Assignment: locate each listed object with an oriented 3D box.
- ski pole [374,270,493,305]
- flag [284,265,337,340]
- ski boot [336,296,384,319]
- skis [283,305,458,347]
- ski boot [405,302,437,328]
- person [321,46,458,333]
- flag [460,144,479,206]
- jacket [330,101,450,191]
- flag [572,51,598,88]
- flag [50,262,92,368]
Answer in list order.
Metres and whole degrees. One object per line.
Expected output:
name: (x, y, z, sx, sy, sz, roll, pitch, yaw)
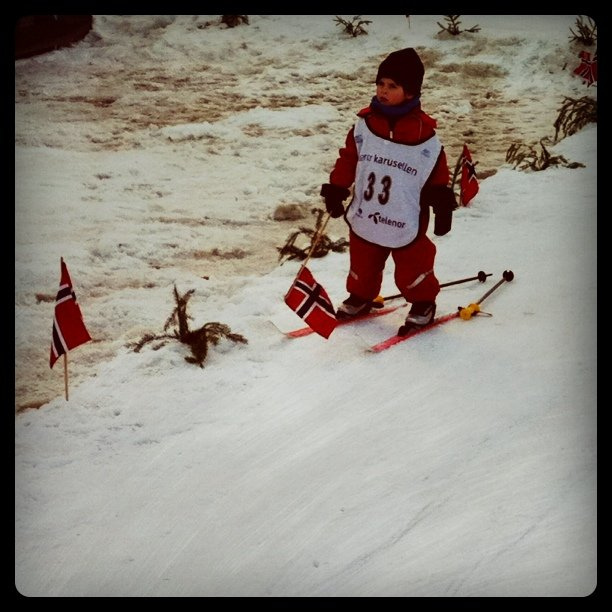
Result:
ski pole: (0.558, -0.081, 3.286, 0.588, 0.061, 0.078, -9, 17, -24)
flag: (0.009, -0.032, 3.006, 0.202, 0.449, 0.034, -1, 44, 15)
ski boot: (0.218, 0.002, 3.290, 0.228, 0.083, 0.067, -7, 42, -14)
skis: (0.342, 0.086, 3.238, 0.882, 0.057, 0.241, -11, 22, -17)
ski boot: (0.499, 0.033, 3.236, 0.143, 0.114, 0.096, 8, 7, 0)
person: (0.345, -0.458, 3.020, 0.541, 1.158, 0.240, 10, 25, 9)
flag: (0.806, -0.668, 3.682, 0.115, 0.324, 0.025, -23, 28, -17)
jacket: (0.348, -0.635, 2.941, 0.478, 0.357, 0.147, 8, 25, 8)
flag: (1.480, -1.269, 3.899, 0.123, 0.182, 0.168, 12, 24, 15)
flag: (-0.926, 0.013, 2.870, 0.147, 0.435, 0.205, -2, 25, -16)
